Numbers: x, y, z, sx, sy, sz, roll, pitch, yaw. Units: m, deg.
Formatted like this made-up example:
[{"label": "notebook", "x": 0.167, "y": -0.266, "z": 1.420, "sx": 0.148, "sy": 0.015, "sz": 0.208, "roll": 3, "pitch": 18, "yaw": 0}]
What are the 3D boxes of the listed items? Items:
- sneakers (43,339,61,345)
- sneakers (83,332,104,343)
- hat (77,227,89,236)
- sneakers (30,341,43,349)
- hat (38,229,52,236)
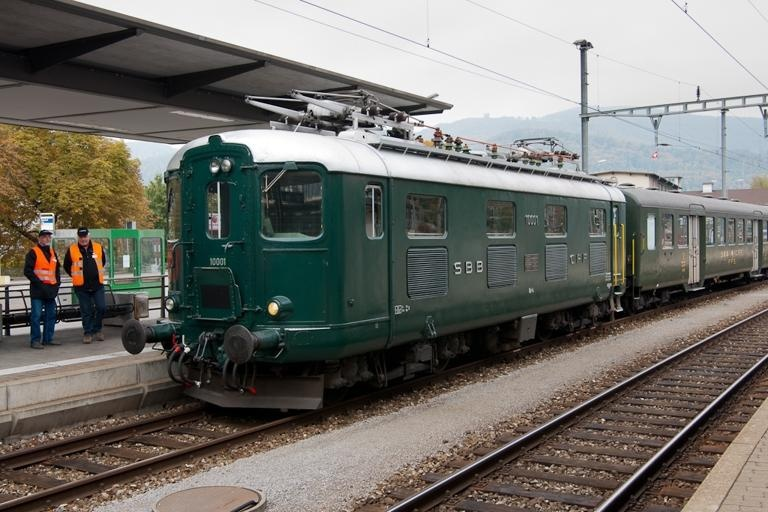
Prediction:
[{"label": "sneakers", "x": -6.634, "y": 1.728, "z": 12.326, "sx": 0.337, "sy": 0.125, "sz": 0.110, "roll": -2, "pitch": -3, "yaw": 11}, {"label": "sneakers", "x": -5.998, "y": 1.694, "z": 12.717, "sx": 0.195, "sy": 0.235, "sz": 0.605, "roll": -1, "pitch": -8, "yaw": 11}, {"label": "hat", "x": -6.053, "y": -0.480, "z": 12.392, "sx": 0.179, "sy": 0.196, "sz": 0.411, "roll": -5, "pitch": 2, "yaw": -27}, {"label": "sneakers", "x": -6.730, "y": 1.737, "z": 11.918, "sx": 0.287, "sy": 0.105, "sz": 0.108, "roll": -2, "pitch": 0, "yaw": 38}, {"label": "hat", "x": -6.694, "y": -0.462, "z": 12.141, "sx": 0.218, "sy": 0.111, "sz": 0.333, "roll": 0, "pitch": -1, "yaw": -33}]
